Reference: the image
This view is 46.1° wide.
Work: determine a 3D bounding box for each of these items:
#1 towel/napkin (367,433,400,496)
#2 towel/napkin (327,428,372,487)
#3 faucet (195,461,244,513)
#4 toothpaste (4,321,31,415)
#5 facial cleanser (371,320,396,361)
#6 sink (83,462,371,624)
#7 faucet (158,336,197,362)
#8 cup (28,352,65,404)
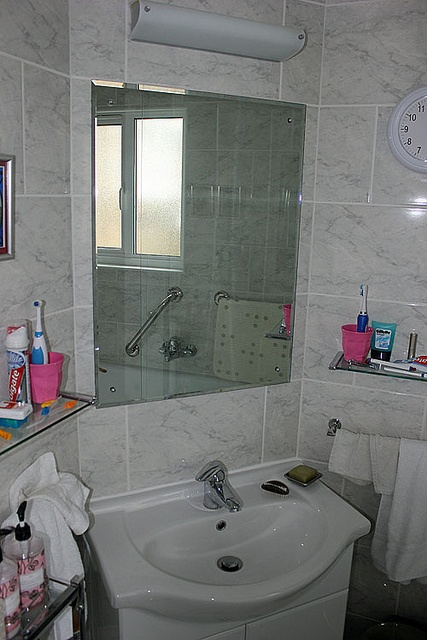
[{"bbox_3d":[0.560,0.467,1.632,0.093,0.180,0.020,4,-7,-3],"label":"towel/napkin"},{"bbox_3d":[0.457,0.455,1.625,0.161,0.158,0.058,9,-1,19],"label":"towel/napkin"},{"bbox_3d":[0.037,0.529,1.621,0.146,0.201,0.094,-17,37,-22],"label":"faucet"},{"bbox_3d":[-0.425,0.106,1.090,0.075,0.180,0.119,1,7,-6],"label":"toothpaste"},{"bbox_3d":[0.519,0.061,1.545,0.065,0.115,0.091,2,9,18],"label":"facial cleanser"},{"bbox_3d":[0.068,0.653,1.478,0.807,0.176,0.508,-4,9,-25],"label":"sink"},{"bbox_3d":[-0.113,0.092,1.576,0.108,0.055,0.072,1,-14,3],"label":"faucet"},{"bbox_3d":[-0.381,0.130,1.186,0.073,0.109,0.117,3,8,12],"label":"cup"}]
